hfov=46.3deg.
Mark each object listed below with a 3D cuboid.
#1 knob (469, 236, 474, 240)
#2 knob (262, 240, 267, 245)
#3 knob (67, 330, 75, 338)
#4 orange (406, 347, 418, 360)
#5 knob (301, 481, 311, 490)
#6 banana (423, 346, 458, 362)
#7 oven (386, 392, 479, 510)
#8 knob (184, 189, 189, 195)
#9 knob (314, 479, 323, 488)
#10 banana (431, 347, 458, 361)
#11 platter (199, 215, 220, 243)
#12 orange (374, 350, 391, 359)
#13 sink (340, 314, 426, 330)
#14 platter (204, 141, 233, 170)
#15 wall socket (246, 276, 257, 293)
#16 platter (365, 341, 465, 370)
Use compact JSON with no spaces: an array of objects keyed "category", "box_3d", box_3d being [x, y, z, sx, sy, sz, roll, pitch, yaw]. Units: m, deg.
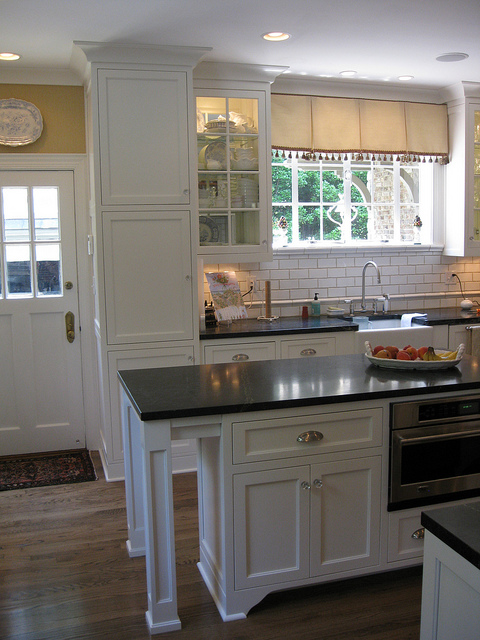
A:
[{"category":"knob","box_3d":[1.943,-0.690,4.694,0.020,0.026,0.014,-1,20,7]},{"category":"knob","box_3d":[0.175,-0.567,4.038,0.027,0.020,0.030,-4,12,-20]},{"category":"knob","box_3d":[-1.265,0.105,4.197,0.035,0.047,0.049,2,3,-5]},{"category":"orange","box_3d":[0.813,0.159,2.649,0.051,0.025,0.050,-3,11,-28]},{"category":"knob","box_3d":[0.257,0.640,2.169,0.040,0.032,0.011,-4,5,-30]},{"category":"banana","box_3d":[0.928,0.150,2.629,0.110,0.049,0.234,3,7,44]},{"category":"oven","box_3d":[0.759,0.514,2.261,0.482,0.427,0.325,-3,5,-17]},{"category":"knob","box_3d":[-0.337,-0.814,3.550,0.034,0.031,0.010,-5,6,-40]},{"category":"knob","box_3d":[0.302,0.631,2.172,0.027,0.030,0.027,5,10,-15]},{"category":"banana","box_3d":[0.952,0.157,2.596,0.157,0.094,0.046,5,-4,-29]},{"category":"platter","box_3d":[-0.215,-0.638,3.909,0.149,0.187,0.029,-4,5,-30]},{"category":"orange","box_3d":[0.683,0.161,2.653,0.048,0.037,0.035,-14,6,12]},{"category":"sink","box_3d":[1.125,0.018,4.430,0.593,0.108,0.404,-1,5,8]},{"category":"platter","box_3d":[-0.166,-1.142,3.867,0.158,0.190,0.015,-3,5,-23]},{"category":"wall socket","box_3d":[0.095,-0.289,4.462,0.094,0.126,0.020,-5,5,-34]},{"category":"platter","box_3d":[0.808,0.172,2.628,0.411,0.108,0.178,-1,5,10]}]
